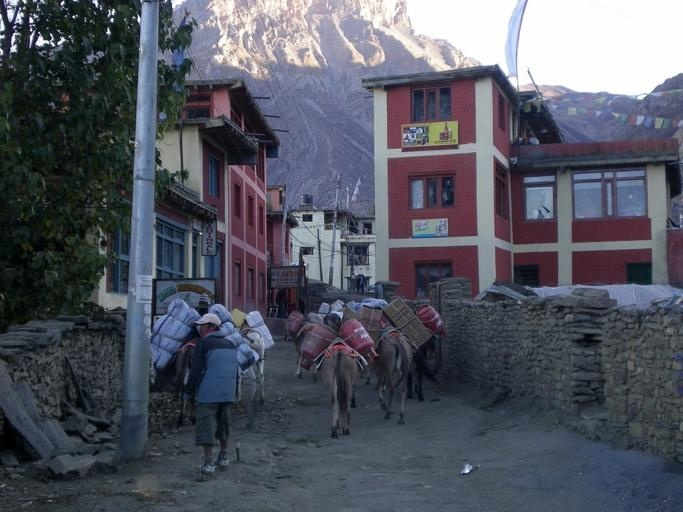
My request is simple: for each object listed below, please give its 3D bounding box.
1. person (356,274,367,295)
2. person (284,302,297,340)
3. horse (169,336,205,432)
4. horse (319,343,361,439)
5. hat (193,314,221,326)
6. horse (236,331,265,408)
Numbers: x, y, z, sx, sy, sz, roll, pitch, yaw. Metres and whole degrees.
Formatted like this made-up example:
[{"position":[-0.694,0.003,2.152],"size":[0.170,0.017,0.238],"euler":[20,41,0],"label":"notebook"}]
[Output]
[{"position":[1.333,1.936,52.577],"size":[0.778,1.182,2.452],"euler":[1,2,4],"label":"person"},{"position":[-2.306,2.932,35.795],"size":[0.469,1.125,2.000],"euler":[10,37,-6],"label":"person"},{"position":[-3.593,2.561,18.192],"size":[0.446,1.437,1.689],"euler":[7,-8,-20],"label":"horse"},{"position":[-0.061,3.139,18.878],"size":[0.786,1.635,1.144],"euler":[3,1,9],"label":"horse"},{"position":[-2.487,1.211,15.062],"size":[0.305,0.177,0.241],"euler":[4,-9,5],"label":"hat"},{"position":[-2.609,2.971,23.339],"size":[0.534,2.366,2.422],"euler":[0,-3,-16],"label":"horse"}]
